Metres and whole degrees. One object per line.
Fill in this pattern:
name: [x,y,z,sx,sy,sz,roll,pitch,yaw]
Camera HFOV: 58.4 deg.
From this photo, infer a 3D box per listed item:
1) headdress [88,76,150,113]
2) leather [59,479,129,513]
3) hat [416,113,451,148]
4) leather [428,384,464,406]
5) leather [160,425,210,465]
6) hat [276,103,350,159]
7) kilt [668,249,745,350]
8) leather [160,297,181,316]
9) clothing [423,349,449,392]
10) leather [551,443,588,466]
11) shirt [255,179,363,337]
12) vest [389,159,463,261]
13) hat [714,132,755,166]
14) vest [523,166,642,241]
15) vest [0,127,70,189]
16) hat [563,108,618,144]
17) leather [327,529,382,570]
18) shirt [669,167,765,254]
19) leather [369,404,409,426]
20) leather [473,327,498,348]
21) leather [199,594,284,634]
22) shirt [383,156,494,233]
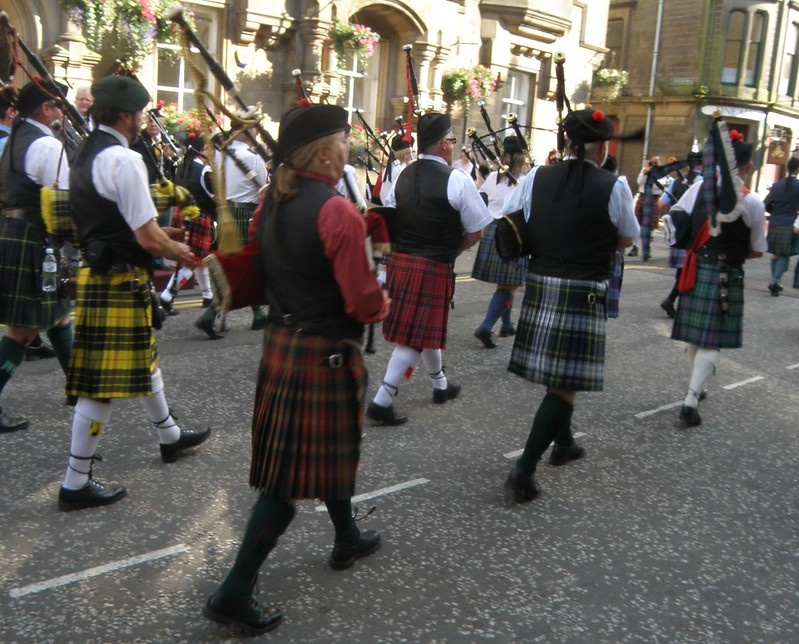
headdress: [-1.162,-0.946,2.976,0.199,0.154,0.213,0,14,-6]
leather: [-1.327,0.738,3.116,0.323,0.104,0.113,-4,10,-32]
hat: [0.197,-1.084,4.102,0.188,0.231,0.208,2,15,1]
leather: [0.308,0.465,4.609,0.240,0.088,0.093,-17,24,-41]
leather: [-1.015,0.598,3.569,0.112,0.104,0.302,16,27,32]
hat: [-0.288,-0.619,2.354,0.239,0.183,0.142,0,16,-4]
kilt: [1.966,-0.130,4.466,0.408,0.616,0.211,7,18,16]
leather: [-2.006,-0.131,6.225,0.102,0.060,0.180,-24,-29,10]
clothing: [0.236,0.324,4.510,0.212,0.248,0.075,-3,-14,-38]
leather: [0.897,0.700,3.852,0.232,0.077,0.088,-12,22,-30]
shirt: [-0.285,-0.181,2.511,0.469,0.568,0.503,-7,22,-6]
vest: [0.254,-0.643,4.197,0.445,0.550,0.519,-7,18,-37]
hat: [2.012,-1.019,4.245,0.261,0.207,0.096,-11,-4,14]
vest: [0.855,-0.547,3.341,0.639,0.346,0.283,11,30,27]
vest: [-1.839,-0.830,3.589,0.154,0.209,0.284,1,15,-34]
hat: [0.870,-0.889,3.240,0.174,0.097,0.226,22,29,28]
leather: [-0.161,0.884,2.827,0.094,0.087,0.247,12,15,34]
shirt: [1.842,-0.651,4.266,0.795,0.379,0.234,7,16,-15]
leather: [-0.086,0.541,4.145,0.286,0.097,0.095,3,16,-19]
leather: [0.732,0.148,6.011,0.153,0.276,0.082,-23,50,20]
leather: [-0.512,0.964,2.420,0.299,0.121,0.111,18,18,-25]
shirt: [0.193,-0.703,4.134,0.736,0.424,0.282,13,28,29]
